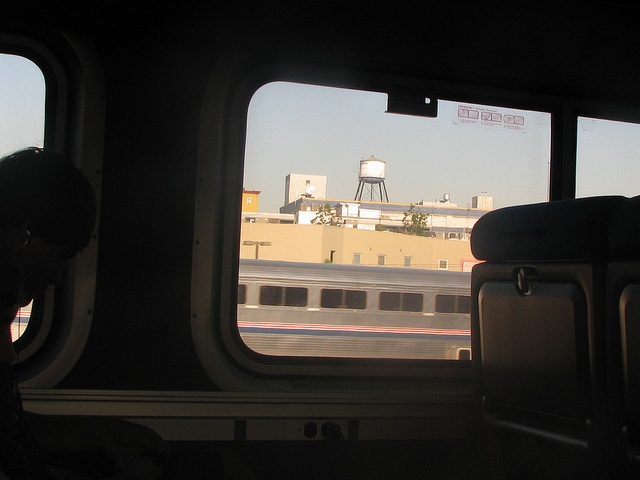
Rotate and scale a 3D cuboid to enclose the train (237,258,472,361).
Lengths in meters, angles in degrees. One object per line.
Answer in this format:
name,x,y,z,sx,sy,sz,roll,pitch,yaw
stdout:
train,0.291,0.678,6.951,2.787,0.776,0.505,6,3,-29
